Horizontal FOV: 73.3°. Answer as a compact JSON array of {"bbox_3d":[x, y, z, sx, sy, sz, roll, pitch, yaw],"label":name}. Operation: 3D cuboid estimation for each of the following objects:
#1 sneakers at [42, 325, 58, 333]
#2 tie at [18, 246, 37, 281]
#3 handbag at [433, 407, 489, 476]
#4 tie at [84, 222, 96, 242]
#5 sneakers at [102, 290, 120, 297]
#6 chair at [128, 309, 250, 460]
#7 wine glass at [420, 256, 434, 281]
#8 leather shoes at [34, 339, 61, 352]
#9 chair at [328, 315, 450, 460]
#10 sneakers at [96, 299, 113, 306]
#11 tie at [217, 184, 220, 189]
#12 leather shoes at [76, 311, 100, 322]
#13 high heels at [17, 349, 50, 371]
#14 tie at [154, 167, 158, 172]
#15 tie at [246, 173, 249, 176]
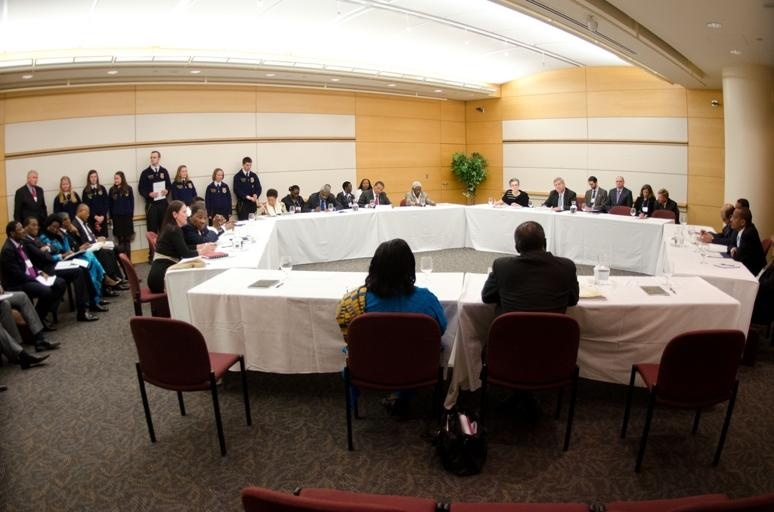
[{"bbox_3d":[-4.216,0.897,6.479,0.177,0.049,0.065,4,3,16],"label":"sneakers"},{"bbox_3d":[-4.492,0.067,6.484,0.134,0.386,0.272,10,19,40],"label":"tie"},{"bbox_3d":[0.562,1.423,4.015,0.317,0.174,0.454,-4,8,-7],"label":"handbag"},{"bbox_3d":[-4.791,-0.398,8.331,0.221,0.314,0.120,-4,22,44],"label":"tie"},{"bbox_3d":[-4.085,0.542,7.681,0.242,0.101,0.091,0,5,3],"label":"sneakers"},{"bbox_3d":[-1.661,1.008,4.410,0.740,1.225,0.792,2,12,7],"label":"chair"},{"bbox_3d":[0.382,0.097,4.998,0.112,0.223,0.328,0,12,4],"label":"wine glass"},{"bbox_3d":[-3.853,1.005,5.930,0.316,0.144,0.105,-2,6,-24],"label":"leather shoes"},{"bbox_3d":[0.027,0.848,3.959,0.780,1.097,0.756,0,19,1],"label":"chair"},{"bbox_3d":[-3.987,0.634,7.298,0.063,0.080,0.196,4,9,21],"label":"sneakers"},{"bbox_3d":[-3.410,-1.433,10.434,0.059,0.084,0.019,-5,5,-30],"label":"tie"},{"bbox_3d":[-3.876,0.776,6.790,0.321,0.137,0.115,-1,6,-4],"label":"leather shoes"},{"bbox_3d":[-3.768,1.071,5.515,0.269,0.189,0.173,-10,15,-36],"label":"high heels"},{"bbox_3d":[-4.326,-1.643,9.716,0.016,0.067,0.065,1,12,-44],"label":"tie"},{"bbox_3d":[-2.904,-1.716,10.718,0.054,0.015,0.055,7,-34,-31],"label":"tie"}]
